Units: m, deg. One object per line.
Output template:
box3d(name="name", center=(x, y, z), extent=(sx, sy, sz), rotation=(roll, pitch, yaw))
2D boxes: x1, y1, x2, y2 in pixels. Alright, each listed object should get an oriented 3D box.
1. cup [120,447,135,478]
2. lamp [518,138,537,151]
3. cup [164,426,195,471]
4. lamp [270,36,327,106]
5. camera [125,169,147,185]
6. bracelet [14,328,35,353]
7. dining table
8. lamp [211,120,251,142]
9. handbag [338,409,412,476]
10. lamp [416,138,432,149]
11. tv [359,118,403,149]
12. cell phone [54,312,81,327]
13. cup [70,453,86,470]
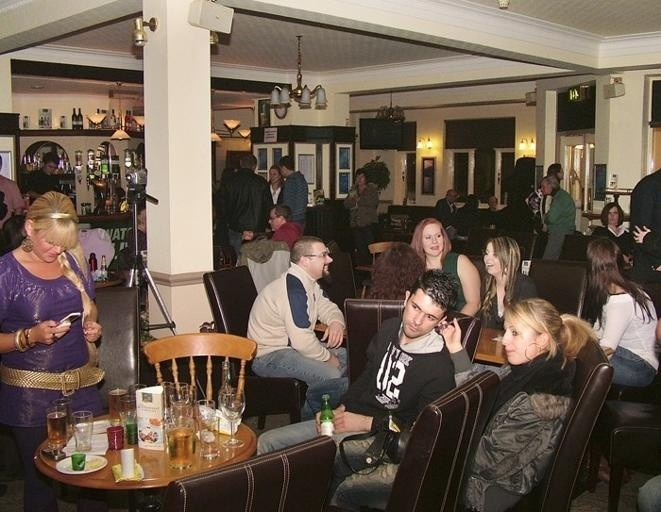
box3d(name="cup", center=(-0.762, 0.768, 2.030), extent=(0.052, 0.118, 0.076), rotation=(-5, 9, -23))
box3d(name="lamp", center=(5.012, -2.786, 13.887), extent=(0.384, 0.434, 0.096), rotation=(2, 9, 22))
box3d(name="cup", center=(-0.578, 0.738, 2.098), extent=(0.126, 0.153, 0.135), rotation=(0, -3, 0))
box3d(name="lamp", center=(-0.501, -2.946, 8.536), extent=(0.921, 1.068, 0.906), rotation=(11, 17, 43))
box3d(name="camera", center=(-1.427, -0.573, 3.956), extent=(0.114, 0.092, 0.104), rotation=(6, 11, 26))
box3d(name="bracelet", center=(-1.347, 0.379, 2.379), extent=(0.032, 0.090, 0.081), rotation=(-3, 3, 19))
box3d(name="dining table", center=(-0.728, 0.756, 2.069), extent=(0.501, 0.351, 0.522), rotation=(1, 17, -9))
box3d(name="lamp", center=(-2.857, -3.567, 15.439), extent=(0.981, 0.669, 1.713), rotation=(-2, 8, -8))
box3d(name="handbag", center=(0.195, 0.759, 2.213), extent=(0.314, 0.168, 0.249), rotation=(-2, 7, -10))
box3d(name="lamp", center=(2.685, -3.204, 15.533), extent=(0.419, 0.390, 0.188), rotation=(2, 5, 1))
box3d(name="tv", center=(1.097, -2.671, 11.898), extent=(0.771, 0.593, 0.102), rotation=(-2, 4, -22))
box3d(name="cell phone", center=(-1.163, 0.288, 2.390), extent=(0.080, 0.027, 0.082), rotation=(-31, -6, 30))
box3d(name="cup", center=(-0.949, 0.776, 2.030), extent=(0.054, 0.061, 0.053), rotation=(4, -2, 0))
